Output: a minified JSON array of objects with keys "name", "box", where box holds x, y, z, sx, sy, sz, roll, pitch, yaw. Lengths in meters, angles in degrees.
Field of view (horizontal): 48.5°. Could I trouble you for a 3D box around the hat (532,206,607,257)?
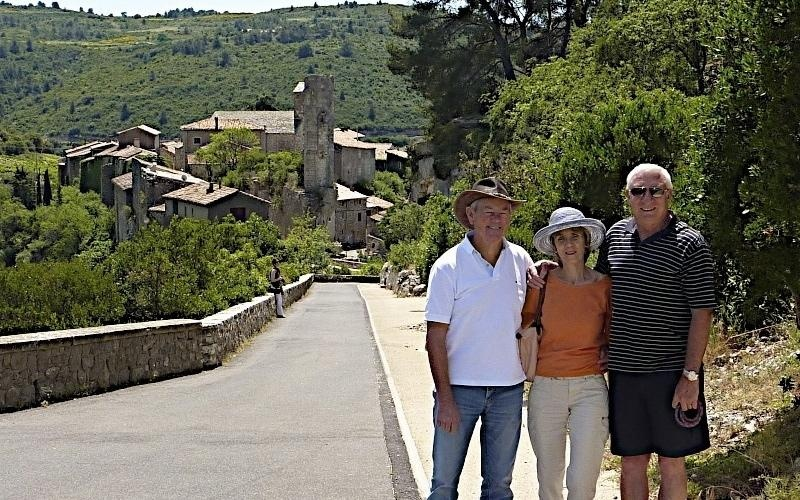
[{"name":"hat","box":[2.204,-0.235,11.104,0.653,0.343,0.653,23,-45,-30]}]
